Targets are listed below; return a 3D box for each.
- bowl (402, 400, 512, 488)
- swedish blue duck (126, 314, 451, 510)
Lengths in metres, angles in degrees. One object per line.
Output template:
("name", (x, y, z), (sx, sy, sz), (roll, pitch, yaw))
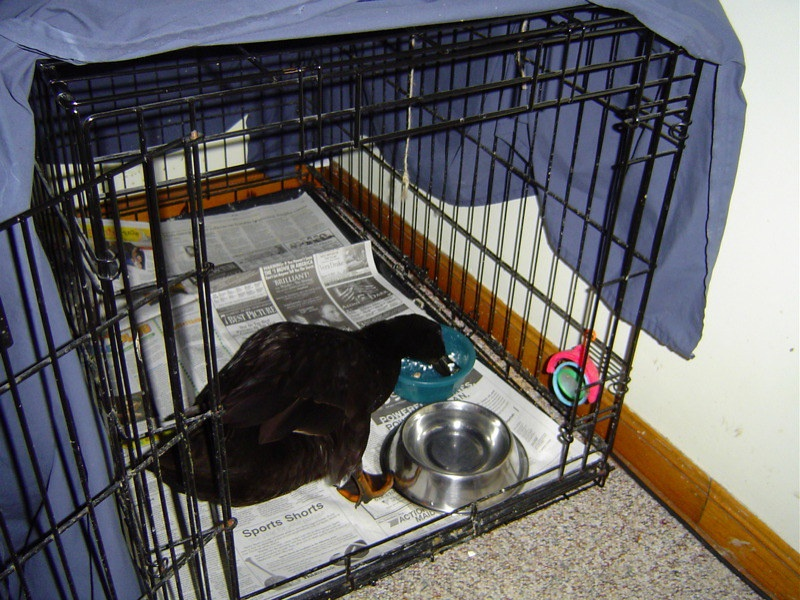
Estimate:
("bowl", (0.117, 0.279, 1.352), (0.301, 0.069, 0.317), (1, 3, 0))
("swedish blue duck", (-0.188, 0.192, 1.297), (0.568, 0.260, 0.267), (-15, 24, -31))
